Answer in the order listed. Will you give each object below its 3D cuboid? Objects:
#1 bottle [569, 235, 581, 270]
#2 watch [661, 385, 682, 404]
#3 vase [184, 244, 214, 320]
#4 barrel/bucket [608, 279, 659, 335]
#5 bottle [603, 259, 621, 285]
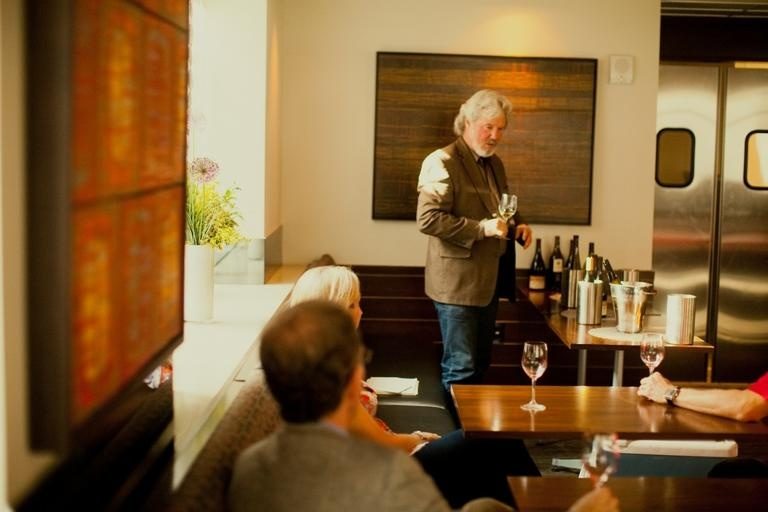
[{"bbox_3d":[1.347,-0.035,4.089,0.094,0.219,0.147,2,7,12],"label":"bottle"},{"bbox_3d":[1.060,0.513,2.135,0.044,0.071,0.069,16,-22,43],"label":"watch"},{"bbox_3d":[-0.801,0.117,2.502,0.113,0.332,0.066,-2,7,-22],"label":"vase"},{"bbox_3d":[1.225,0.237,2.969,0.216,0.259,0.301,0,4,-9],"label":"barrel/bucket"},{"bbox_3d":[1.394,0.098,3.546,0.045,0.157,0.041,-31,14,9],"label":"bottle"}]
